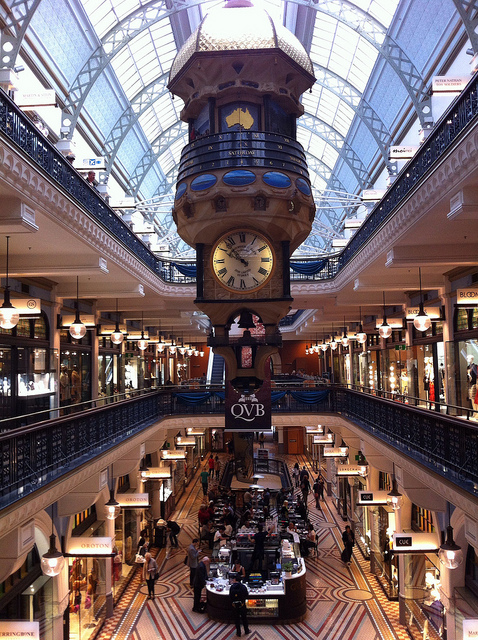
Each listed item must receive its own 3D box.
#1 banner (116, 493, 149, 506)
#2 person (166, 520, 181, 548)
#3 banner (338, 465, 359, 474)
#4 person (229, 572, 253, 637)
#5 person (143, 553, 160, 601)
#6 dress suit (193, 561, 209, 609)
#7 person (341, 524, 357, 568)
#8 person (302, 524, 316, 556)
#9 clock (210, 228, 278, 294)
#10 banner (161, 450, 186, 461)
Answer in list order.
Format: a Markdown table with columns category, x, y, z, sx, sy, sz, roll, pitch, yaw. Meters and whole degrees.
| category | x | y | z | sx | sy | sz | roll | pitch | yaw |
| --- | --- | --- | --- | --- | --- | --- | --- | --- | --- |
| banner | -2.736 | 4.613 | 13.449 | 0.673 | 0.117 | 0.283 | 2 | 33 | 1 |
| person | -2.297 | 7.389 | 18.205 | 0.418 | 1.012 | 0.902 | 1 | -4 | -8 |
| banner | 3.346 | 4.609 | 16.121 | 0.598 | 0.231 | 0.172 | 0 | -4 | 5 |
| person | 0.040 | 6.377 | 11.854 | 0.473 | 1.295 | 1.176 | 0 | -4 | 0 |
| person | -2.387 | 6.828 | 14.142 | 0.346 | 1.141 | 1.424 | 1 | -4 | -9 |
| dress suit | -0.930 | 6.550 | 13.014 | 0.353 | 1.030 | 0.634 | 0 | -4 | -3 |
| person | 3.410 | 7.076 | 16.496 | 0.359 | 1.103 | 0.834 | -1 | -4 | 12 |
| person | 2.277 | 7.194 | 17.055 | 0.383 | 0.731 | 0.863 | -1 | -4 | 13 |
| clock | 0.076 | -1.044 | 9.402 | 1.104 | 1.132 | 0.130 | 2 | -7 | -3 |
| banner | -2.348 | 4.924 | 19.015 | 0.757 | 0.429 | 0.791 | 1 | -4 | -12 |
